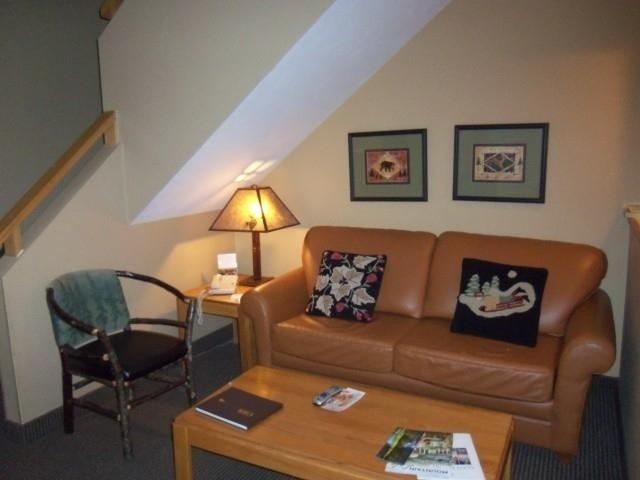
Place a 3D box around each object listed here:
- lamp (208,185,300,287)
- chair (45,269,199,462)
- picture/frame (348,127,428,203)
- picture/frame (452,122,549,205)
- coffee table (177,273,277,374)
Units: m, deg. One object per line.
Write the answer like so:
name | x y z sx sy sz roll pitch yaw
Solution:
lamp | -0.510 -0.020 3.966 0.650 0.749 0.644 -6 10 -39
chair | -1.213 0.687 3.085 0.709 0.929 0.847 8 11 38
picture/frame | 0.543 -0.588 3.804 0.583 0.500 0.028 2 13 23
picture/frame | 1.282 -0.547 3.455 0.571 0.521 0.039 3 7 25
coffee table | -0.625 0.557 3.848 0.636 0.623 0.662 4 10 27
